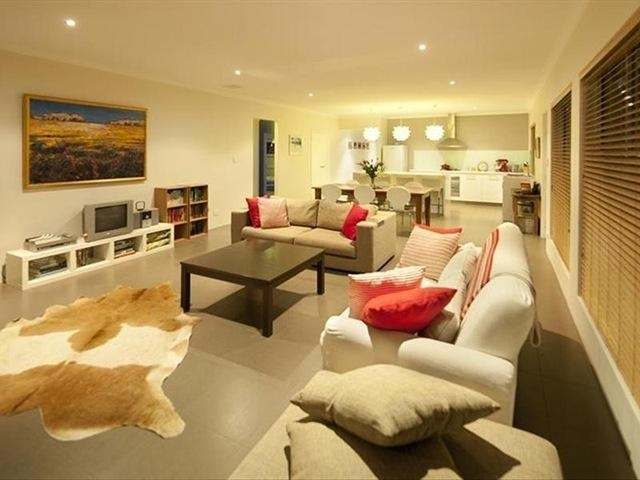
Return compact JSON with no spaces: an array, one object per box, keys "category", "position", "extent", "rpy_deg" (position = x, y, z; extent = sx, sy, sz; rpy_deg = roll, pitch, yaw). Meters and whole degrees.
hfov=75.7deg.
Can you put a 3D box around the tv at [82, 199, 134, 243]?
[{"category":"tv","position":[-3.011,-0.280,5.681],"extent":[0.459,0.666,0.893],"rpy_deg":[2,3,22]}]

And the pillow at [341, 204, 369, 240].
[{"category":"pillow","position":[0.449,-0.215,5.300],"extent":[0.197,0.374,0.415],"rpy_deg":[-7,6,-13]}]

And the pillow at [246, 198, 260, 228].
[{"category":"pillow","position":[-0.961,-0.392,5.874],"extent":[0.102,0.358,0.346],"rpy_deg":[-5,3,-40]}]

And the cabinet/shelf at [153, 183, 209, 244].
[{"category":"cabinet/shelf","position":[-2.364,-0.449,6.843],"extent":[0.268,0.917,0.960],"rpy_deg":[2,4,24]}]

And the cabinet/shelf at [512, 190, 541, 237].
[{"category":"cabinet/shelf","position":[3.764,-0.494,7.437],"extent":[0.606,0.949,0.900],"rpy_deg":[4,10,28]}]

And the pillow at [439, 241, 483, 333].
[{"category":"pillow","position":[1.016,0.324,3.001],"extent":[0.147,0.544,0.525],"rpy_deg":[10,33,12]}]

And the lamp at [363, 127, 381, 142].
[{"category":"lamp","position":[1.283,-2.680,10.218],"extent":[0.406,0.102,0.433],"rpy_deg":[13,-30,7]}]

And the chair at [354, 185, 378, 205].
[{"category":"chair","position":[0.845,-0.899,7.718],"extent":[0.375,0.595,0.396],"rpy_deg":[5,14,27]}]

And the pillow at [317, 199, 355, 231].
[{"category":"pillow","position":[0.177,-0.346,5.710],"extent":[0.398,0.435,0.159],"rpy_deg":[15,-5,31]}]

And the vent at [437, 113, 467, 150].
[{"category":"vent","position":[3.773,-3.085,11.552],"extent":[0.786,0.961,0.791],"rpy_deg":[-20,28,-19]}]

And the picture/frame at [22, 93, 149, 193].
[{"category":"picture/frame","position":[-3.268,-1.331,5.592],"extent":[0.079,1.005,1.492],"rpy_deg":[4,5,29]}]

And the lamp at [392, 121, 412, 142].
[{"category":"lamp","position":[2.294,-3.035,11.447],"extent":[0.458,0.563,1.909],"rpy_deg":[2,11,12]}]

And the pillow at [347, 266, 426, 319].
[{"category":"pillow","position":[0.451,0.354,2.703],"extent":[0.355,0.255,0.128],"rpy_deg":[-5,5,-18]}]
